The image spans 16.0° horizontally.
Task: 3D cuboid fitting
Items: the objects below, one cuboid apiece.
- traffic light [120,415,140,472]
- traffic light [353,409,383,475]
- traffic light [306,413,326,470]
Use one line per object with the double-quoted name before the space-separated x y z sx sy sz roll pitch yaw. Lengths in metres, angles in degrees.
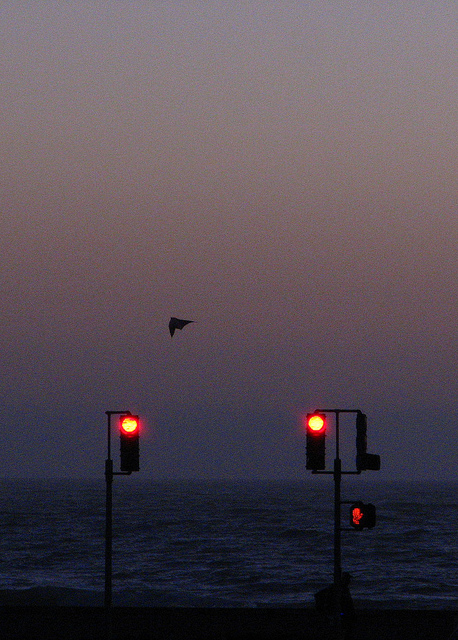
"traffic light" -3.090 3.808 51.069 0.554 1.807 0.438 0 -12 -7
"traffic light" 4.252 3.661 50.097 0.703 1.850 0.501 1 0 3
"traffic light" 2.637 3.641 49.595 0.604 1.686 0.342 -2 -12 2
